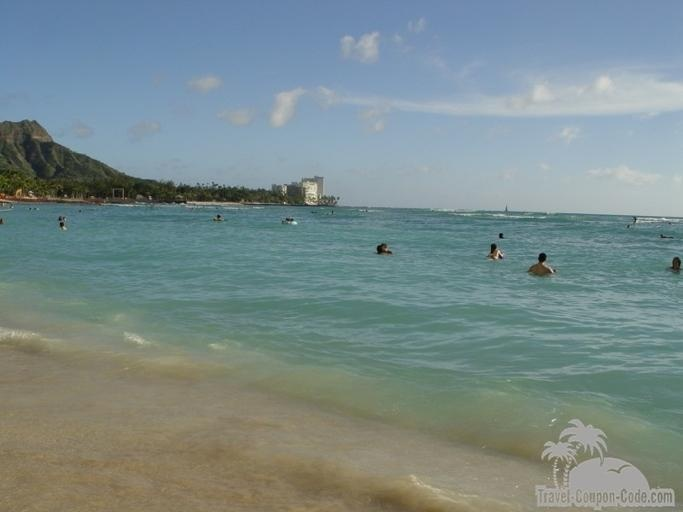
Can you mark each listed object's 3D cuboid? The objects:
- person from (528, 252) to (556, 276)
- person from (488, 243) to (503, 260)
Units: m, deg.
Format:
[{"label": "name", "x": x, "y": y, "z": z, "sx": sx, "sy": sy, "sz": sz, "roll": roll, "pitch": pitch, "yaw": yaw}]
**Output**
[{"label": "person", "x": 7.870, "y": 0.333, "z": 21.887, "sx": 0.792, "sy": 0.609, "sz": 0.421, "roll": 19, "pitch": 30, "yaw": 29}, {"label": "person", "x": 6.774, "y": -0.184, "z": 24.451, "sx": 0.637, "sy": 0.633, "sz": 1.077, "roll": 3, "pitch": 10, "yaw": 14}]
